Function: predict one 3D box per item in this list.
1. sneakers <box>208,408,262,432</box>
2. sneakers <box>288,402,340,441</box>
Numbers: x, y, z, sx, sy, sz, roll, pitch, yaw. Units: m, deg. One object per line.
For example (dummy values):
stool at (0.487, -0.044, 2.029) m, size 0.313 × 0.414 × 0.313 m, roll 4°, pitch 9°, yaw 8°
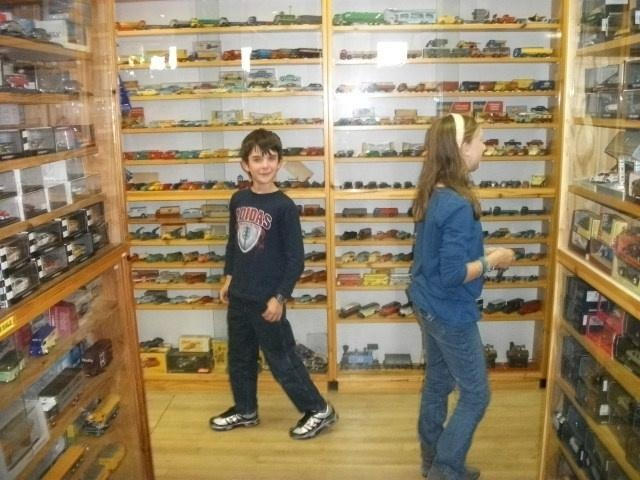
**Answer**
sneakers at (-0.541, 1.115, 3.282) m, size 0.354 × 0.112 × 0.116 m, roll 1°, pitch 2°, yaw -7°
sneakers at (-0.039, 1.091, 3.256) m, size 0.357 × 0.136 × 0.139 m, roll -23°, pitch 15°, yaw -21°
